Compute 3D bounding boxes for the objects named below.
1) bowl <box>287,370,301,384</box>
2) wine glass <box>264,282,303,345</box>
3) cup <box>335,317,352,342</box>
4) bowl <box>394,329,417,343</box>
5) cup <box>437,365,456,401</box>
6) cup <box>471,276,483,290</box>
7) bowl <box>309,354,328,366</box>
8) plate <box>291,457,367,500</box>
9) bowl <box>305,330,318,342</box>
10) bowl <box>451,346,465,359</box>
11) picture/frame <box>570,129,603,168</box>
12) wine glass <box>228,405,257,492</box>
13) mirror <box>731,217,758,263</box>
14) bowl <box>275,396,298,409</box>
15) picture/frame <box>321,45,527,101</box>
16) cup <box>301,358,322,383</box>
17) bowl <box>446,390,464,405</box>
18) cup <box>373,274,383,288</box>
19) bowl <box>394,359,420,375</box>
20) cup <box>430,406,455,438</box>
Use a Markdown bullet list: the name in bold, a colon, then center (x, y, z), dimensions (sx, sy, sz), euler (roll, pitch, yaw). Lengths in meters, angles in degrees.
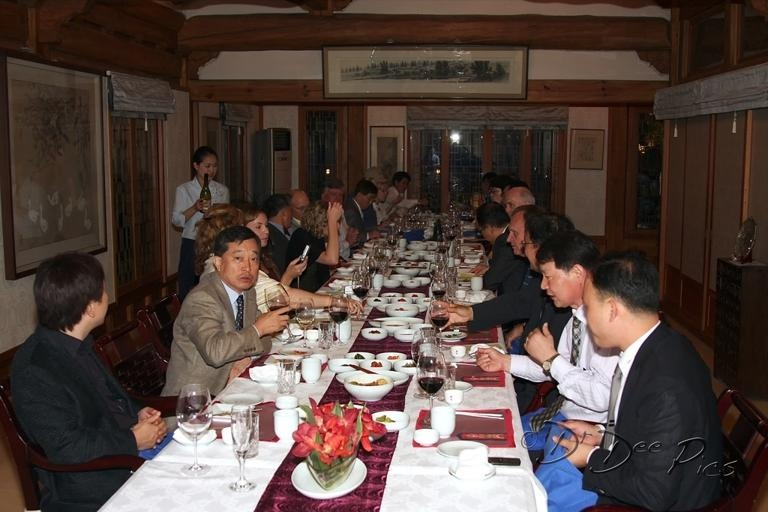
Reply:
- **bowl**: center (-0.415, 0.557, 2.504), dimensions (0.053, 0.040, 0.062), euler (0, -6, 3)
- **wine glass**: center (-0.564, 0.331, 3.006), dimensions (0.157, 0.155, 0.347), euler (-25, -46, 20)
- **cup**: center (-0.229, 0.426, 3.087), dimensions (0.113, 0.156, 0.130), euler (0, 11, 3)
- **bowl**: center (0.119, 0.447, 3.044), dimensions (0.125, 0.050, 0.126), euler (1, -5, 0)
- **cup**: center (0.251, 0.551, 2.385), dimensions (0.092, 0.159, 0.157), euler (1, -7, 1)
- **cup**: center (0.754, 0.221, 4.436), dimensions (0.105, 0.115, 0.101), euler (1, -7, 0)
- **bowl**: center (-0.327, 0.514, 2.755), dimensions (0.066, 0.048, 0.071), euler (2, -4, 0)
- **plate**: center (-0.183, 0.744, 1.825), dimensions (0.257, 0.051, 0.174), euler (-2, 10, -5)
- **bowl**: center (-0.408, 0.447, 3.065), dimensions (0.063, 0.048, 0.069), euler (0, -9, 0)
- **bowl**: center (0.388, 0.500, 2.832), dimensions (0.059, 0.047, 0.061), euler (4, -2, 0)
- **picture/frame**: center (3.771, -2.017, 10.023), dimensions (0.700, 0.867, 0.031), euler (0, 4, 3)
- **wine glass**: center (-0.491, 0.624, 1.853), dimensions (0.093, 0.259, 0.208), euler (-4, 10, -14)
- **mirror**: center (3.280, -0.157, 4.919), dimensions (0.144, 0.379, 0.275), euler (5, 12, 32)
- **bowl**: center (-0.399, 0.595, 2.210), dimensions (0.064, 0.032, 0.064), euler (1, -1, 0)
- **picture/frame**: center (0.550, -2.465, 7.314), dimensions (2.716, 0.683, 0.177), euler (-1, 10, 2)
- **cup**: center (-0.343, 0.531, 2.531), dimensions (0.102, 0.111, 0.108), euler (-2, 0, 0)
- **bowl**: center (0.304, 0.602, 2.341), dimensions (0.059, 0.046, 0.065), euler (1, -8, 0)
- **cup**: center (-0.041, 0.204, 4.417), dimensions (0.094, 0.096, 0.095), euler (1, -2, 0)
- **bowl**: center (0.109, 0.530, 2.593), dimensions (0.132, 0.053, 0.133), euler (2, -4, 0)
- **cup**: center (0.226, 0.635, 2.088), dimensions (0.096, 0.094, 0.109), euler (0, -8, 2)
